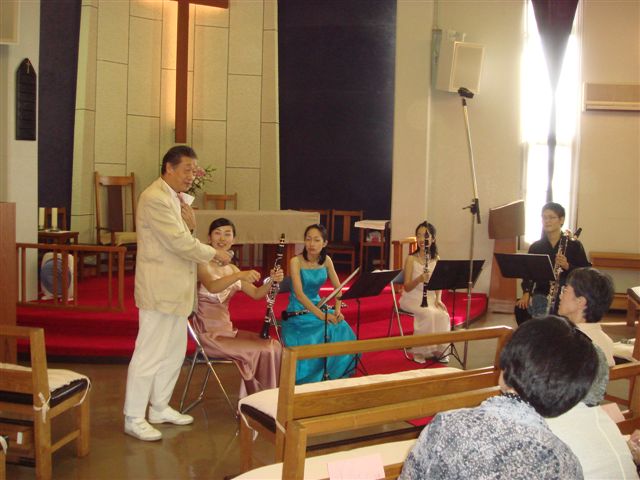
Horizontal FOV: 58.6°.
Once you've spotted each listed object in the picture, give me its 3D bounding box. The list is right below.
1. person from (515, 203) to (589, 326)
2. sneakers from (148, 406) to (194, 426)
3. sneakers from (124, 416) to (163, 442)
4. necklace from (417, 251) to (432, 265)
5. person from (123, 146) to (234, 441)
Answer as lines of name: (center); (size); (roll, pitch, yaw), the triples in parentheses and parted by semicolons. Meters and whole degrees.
person: (1.998, 0.230, 4.978); (0.587, 1.009, 0.516); (-10, 10, -21)
sneakers: (-1.066, 1.264, 4.099); (0.322, 0.140, 0.134); (1, -3, -8)
sneakers: (-1.202, 1.289, 3.886); (0.254, 0.120, 0.123); (4, 4, 23)
necklace: (0.991, 0.171, 5.414); (0.067, 0.190, 0.059); (-7, 23, -17)
person: (-1.074, 0.357, 3.868); (0.635, 1.966, 0.416); (-11, 17, -41)
